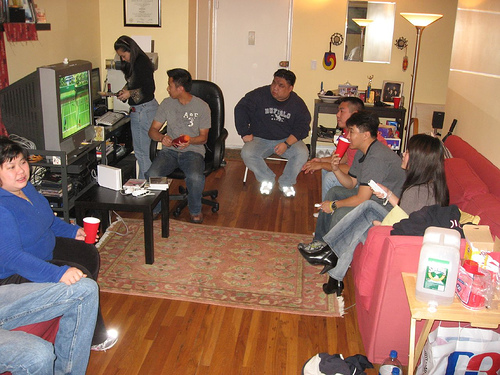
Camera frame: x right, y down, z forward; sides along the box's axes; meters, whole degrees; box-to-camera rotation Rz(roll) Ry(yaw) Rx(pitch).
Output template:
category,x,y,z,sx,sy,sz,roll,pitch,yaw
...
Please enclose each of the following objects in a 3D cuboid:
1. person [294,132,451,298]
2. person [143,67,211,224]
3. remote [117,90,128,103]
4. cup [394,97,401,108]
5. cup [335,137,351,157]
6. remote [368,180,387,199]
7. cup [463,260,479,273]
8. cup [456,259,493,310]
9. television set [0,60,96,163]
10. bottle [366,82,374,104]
category,x,y,z,sx,sy,sz,roll,pitch,yaw
person,0.934,0.019,3.262,0.794,1.216,0.496,6,18,15
person,-0.739,-0.443,3.962,0.750,1.505,0.781,-5,21,-14
remote,-1.427,-1.023,4.241,0.092,0.110,0.183,-21,20,-7
cup,2.095,-1.204,5.356,0.096,0.134,0.131,9,22,19
cup,0.814,-0.349,3.292,0.103,0.173,0.094,1,21,0
remote,0.913,0.015,2.701,0.148,0.080,0.034,48,37,-2
cup,1.110,0.394,1.892,0.063,0.041,0.072,14,25,30
cup,1.119,0.478,1.894,0.143,0.205,0.145,1,21,0
television set,-1.703,-0.680,3.279,0.760,0.746,0.527,-15,26,-35
bottle,1.755,-1.320,5.485,0.087,0.181,0.144,-9,23,-25
